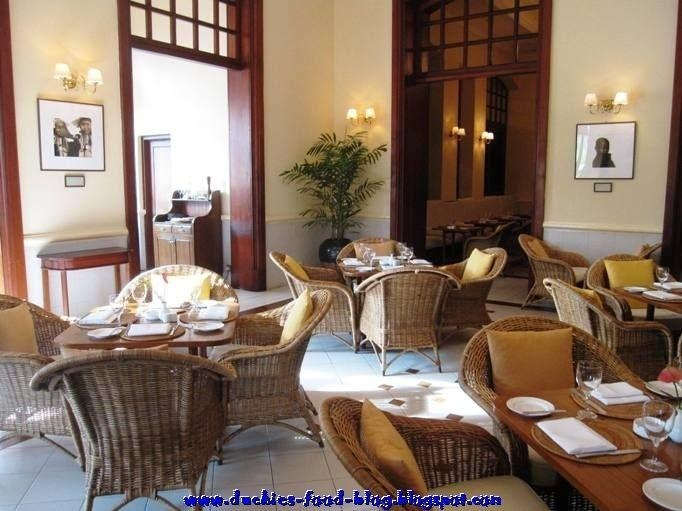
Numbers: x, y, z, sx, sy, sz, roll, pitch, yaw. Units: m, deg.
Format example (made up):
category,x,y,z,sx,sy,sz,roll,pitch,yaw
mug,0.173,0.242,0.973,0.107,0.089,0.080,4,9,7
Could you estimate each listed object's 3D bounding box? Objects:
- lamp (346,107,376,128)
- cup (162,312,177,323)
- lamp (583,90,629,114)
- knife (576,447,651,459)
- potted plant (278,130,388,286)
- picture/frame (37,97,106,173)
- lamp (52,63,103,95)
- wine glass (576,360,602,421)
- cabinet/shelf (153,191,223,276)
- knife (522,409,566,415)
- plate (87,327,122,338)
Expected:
category,x,y,z,sx,sy,sz,roll,pitch,yaw
lamp,0.260,-2.059,7.357,0.533,0.307,0.297,3,13,24
cup,-1.092,0.383,3.105,0.071,0.049,0.068,-2,3,0
lamp,3.132,-1.800,5.790,0.472,0.267,0.219,4,13,24
knife,0.966,0.702,1.754,0.250,0.009,0.035,0,3,-7
potted plant,-0.096,-0.821,7.940,1.902,2.297,1.951,-2,-7,15
picture/frame,-2.644,-1.172,4.828,0.717,0.664,0.027,3,8,10
lamp,-2.522,-1.717,4.751,0.482,0.273,0.321,-11,15,-38
wine glass,1.041,0.523,2.065,0.091,0.228,0.264,5,13,29
cabinet/shelf,-2.281,-0.225,7.303,0.975,1.227,0.549,7,14,39
knife,0.825,0.639,2.011,0.153,0.008,0.019,0,39,-21
plate,-1.396,0.453,2.889,0.190,0.024,0.180,-5,12,-19
